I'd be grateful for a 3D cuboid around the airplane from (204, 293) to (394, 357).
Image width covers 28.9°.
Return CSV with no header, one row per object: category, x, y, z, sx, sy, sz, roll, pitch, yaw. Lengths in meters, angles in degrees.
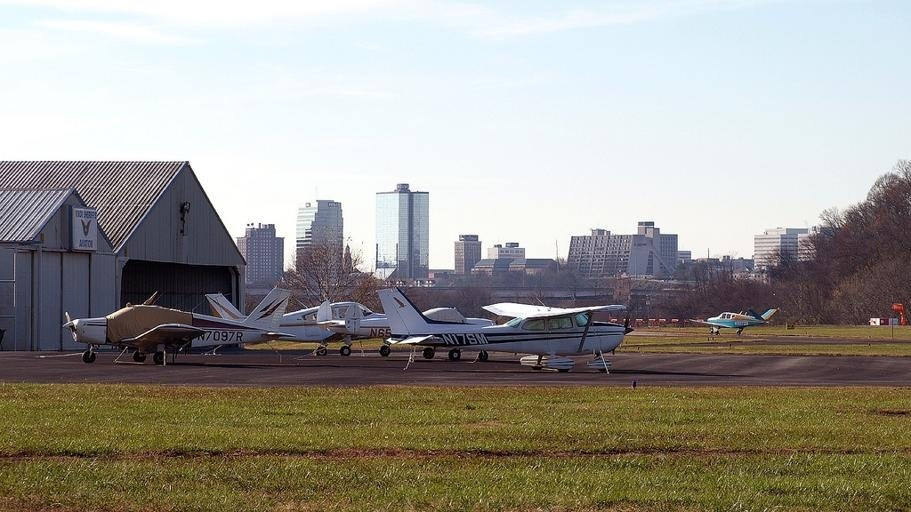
airplane,-10.990,4.728,130.171,15.092,3.920,16.012,1,2,3
